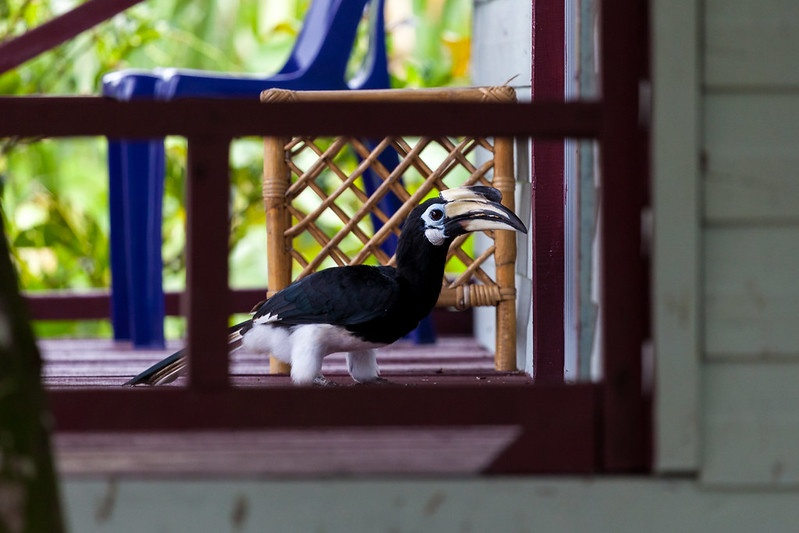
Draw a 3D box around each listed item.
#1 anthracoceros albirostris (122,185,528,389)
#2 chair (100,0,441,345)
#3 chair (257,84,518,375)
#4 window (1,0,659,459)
[{"bbox_3d":[-0.279,0.107,6.073,1.363,0.711,0.379,3,-4,19],"label":"anthracoceros albirostris"},{"bbox_3d":[-0.802,-0.440,7.486,1.336,2.095,1.127,0,2,-24],"label":"chair"},{"bbox_3d":[-0.056,-0.131,6.811,0.917,1.507,1.186,0,-3,1],"label":"chair"},{"bbox_3d":[-0.069,-0.030,5.899,1.608,1.069,1.700,-1,6,-5],"label":"window"}]
